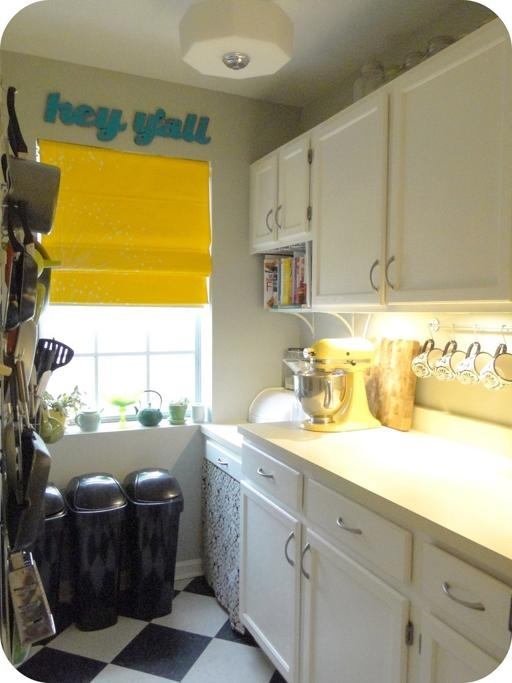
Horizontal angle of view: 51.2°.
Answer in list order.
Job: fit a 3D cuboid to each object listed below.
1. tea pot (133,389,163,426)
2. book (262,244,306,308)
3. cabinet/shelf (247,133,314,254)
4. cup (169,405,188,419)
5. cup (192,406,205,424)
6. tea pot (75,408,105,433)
[{"bbox_3d":[-0.509,0.315,2.548,0.130,0.154,0.222,-1,4,-11],"label":"tea pot"},{"bbox_3d":[0.133,-0.302,2.436,0.142,0.259,0.259,-2,10,-11],"label":"book"},{"bbox_3d":[0.170,-0.604,2.303,0.216,0.427,0.509,-1,2,-26],"label":"cabinet/shelf"},{"bbox_3d":[-0.365,0.334,2.518,0.069,0.059,0.065,0,2,0],"label":"cup"},{"bbox_3d":[-0.274,0.353,2.556,0.073,0.085,0.075,1,18,0],"label":"cup"},{"bbox_3d":[-0.731,0.349,2.338,0.103,0.093,0.078,-2,8,-29],"label":"tea pot"}]
